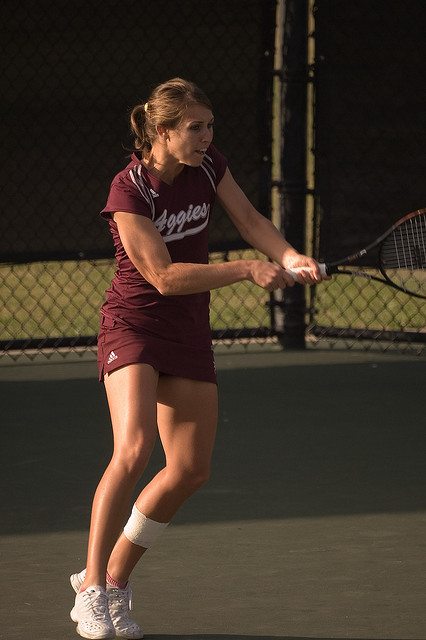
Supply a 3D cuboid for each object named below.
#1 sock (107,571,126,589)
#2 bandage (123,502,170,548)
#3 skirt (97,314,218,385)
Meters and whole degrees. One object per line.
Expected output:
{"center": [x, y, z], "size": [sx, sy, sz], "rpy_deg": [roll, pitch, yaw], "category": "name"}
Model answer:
{"center": [-0.253, 0.685, 1.779], "size": [0.047, 0.010, 0.046], "rpy_deg": [23, 0, -22], "category": "sock"}
{"center": [-0.182, 0.555, 1.836], "size": [0.104, 0.085, 0.111], "rpy_deg": [23, 12, -48], "category": "bandage"}
{"center": [-0.153, 0.058, 1.930], "size": [0.352, 0.221, 0.180], "rpy_deg": [11, -15, -30], "category": "skirt"}
